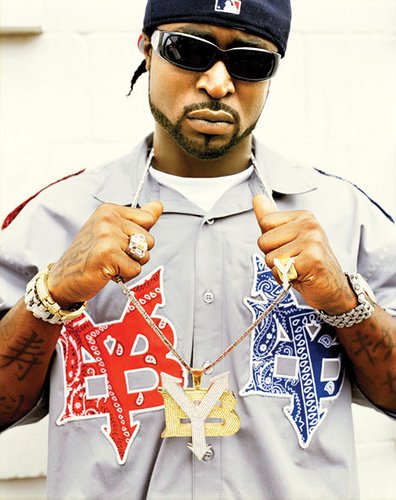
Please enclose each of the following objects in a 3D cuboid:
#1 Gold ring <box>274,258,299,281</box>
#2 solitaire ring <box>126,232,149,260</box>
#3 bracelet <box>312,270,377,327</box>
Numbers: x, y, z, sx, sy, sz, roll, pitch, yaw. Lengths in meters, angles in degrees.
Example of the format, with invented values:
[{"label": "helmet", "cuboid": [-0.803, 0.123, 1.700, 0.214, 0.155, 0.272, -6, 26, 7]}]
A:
[{"label": "Gold ring", "cuboid": [0.279, 0.063, 2.026, 0.075, 0.064, 0.030, -1, -2, -4]}, {"label": "solitaire ring", "cuboid": [-0.191, -0.011, 2.064, 0.063, 0.072, 0.076, 7, 6, -22]}, {"label": "bracelet", "cuboid": [0.522, 0.180, 2.317, 0.179, 0.069, 0.215, -28, 10, 9]}]
